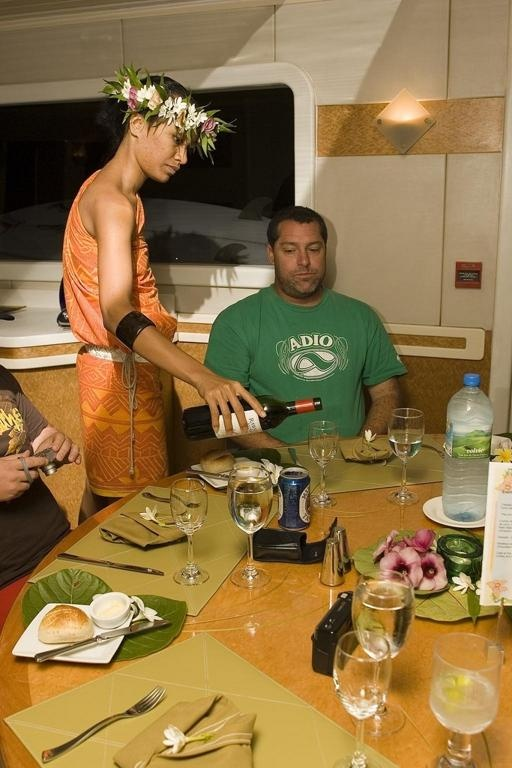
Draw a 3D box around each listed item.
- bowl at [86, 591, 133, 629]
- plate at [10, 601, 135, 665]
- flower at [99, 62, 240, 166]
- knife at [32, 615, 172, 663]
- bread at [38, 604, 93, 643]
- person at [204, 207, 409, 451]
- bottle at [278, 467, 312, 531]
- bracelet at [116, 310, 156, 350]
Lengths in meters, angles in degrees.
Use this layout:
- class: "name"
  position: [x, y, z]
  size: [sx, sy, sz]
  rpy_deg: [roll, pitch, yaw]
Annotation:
- class: "bowl"
  position: [-0.246, 0.383, 0.990]
  size: [0.045, 0.024, 0.057]
  rpy_deg: [12, 17, 29]
- class: "plate"
  position: [-0.298, 0.396, 0.941]
  size: [0.169, 0.040, 0.147]
  rpy_deg: [-3, 10, 4]
- class: "flower"
  position: [-0.284, -0.971, 2.055]
  size: [0.408, 0.257, 0.256]
  rpy_deg: [-13, 14, -42]
- class: "knife"
  position: [-0.244, 0.402, 0.914]
  size: [0.250, 0.011, 0.041]
  rpy_deg: [-5, 13, -42]
- class: "bread"
  position: [-0.310, 0.382, 0.934]
  size: [0.050, 0.019, 0.058]
  rpy_deg: [1, 14, -14]
- class: "person"
  position: [0.240, -0.145, 2.503]
  size: [0.926, 1.226, 0.718]
  rpy_deg: [0, -1, -11]
- class: "bottle"
  position: [0.085, 0.261, 1.307]
  size: [0.089, 0.154, 0.087]
  rpy_deg: [2, 20, -1]
- class: "bracelet"
  position: [-0.331, -0.152, 1.684]
  size: [0.090, 0.089, 0.118]
  rpy_deg: [-5, 50, 31]
